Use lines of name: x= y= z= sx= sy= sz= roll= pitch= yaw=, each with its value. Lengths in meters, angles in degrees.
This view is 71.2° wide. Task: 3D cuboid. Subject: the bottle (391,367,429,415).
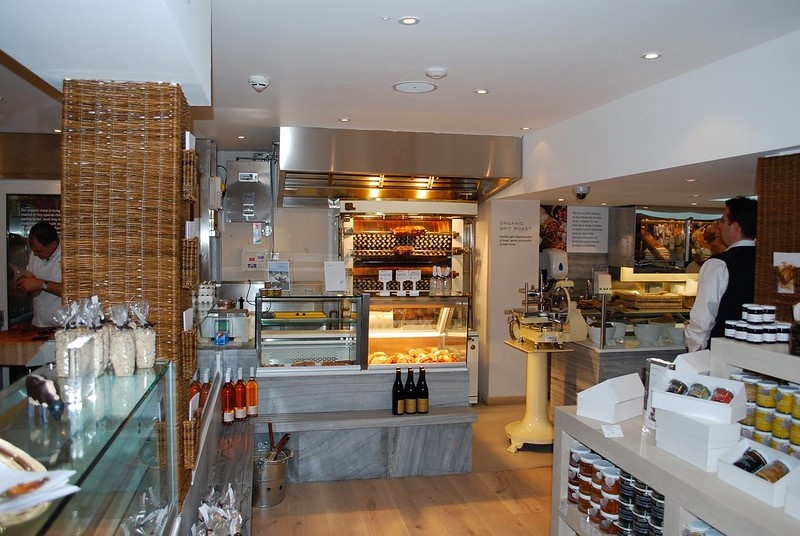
bottle: x=0.081 y=1.117 z=5.026 sx=0.407 sy=0.428 sz=0.147 roll=1 pitch=-4 yaw=-21

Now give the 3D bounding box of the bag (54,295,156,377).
bag: x=-1.322 y=0.321 z=2.619 sx=0.359 sy=0.293 sz=0.351 roll=-3 pitch=-1 yaw=-22

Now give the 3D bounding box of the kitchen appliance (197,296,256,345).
kitchen appliance: x=-1.563 y=0.514 z=5.109 sx=0.487 sy=0.264 sz=0.602 roll=0 pitch=4 yaw=5

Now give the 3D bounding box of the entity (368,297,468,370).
entity: x=0.169 y=0.605 z=5.692 sx=1.143 sy=0.581 sz=0.727 roll=0 pitch=4 yaw=-4

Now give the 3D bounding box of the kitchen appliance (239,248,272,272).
kitchen appliance: x=-1.821 y=-0.107 z=7.069 sx=0.435 sy=0.364 sz=0.249 roll=1 pitch=2 yaw=-10

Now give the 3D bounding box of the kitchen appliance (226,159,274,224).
kitchen appliance: x=-2.052 y=-0.967 z=7.107 sx=0.662 sy=0.832 sz=0.485 roll=-5 pitch=4 yaw=-40
